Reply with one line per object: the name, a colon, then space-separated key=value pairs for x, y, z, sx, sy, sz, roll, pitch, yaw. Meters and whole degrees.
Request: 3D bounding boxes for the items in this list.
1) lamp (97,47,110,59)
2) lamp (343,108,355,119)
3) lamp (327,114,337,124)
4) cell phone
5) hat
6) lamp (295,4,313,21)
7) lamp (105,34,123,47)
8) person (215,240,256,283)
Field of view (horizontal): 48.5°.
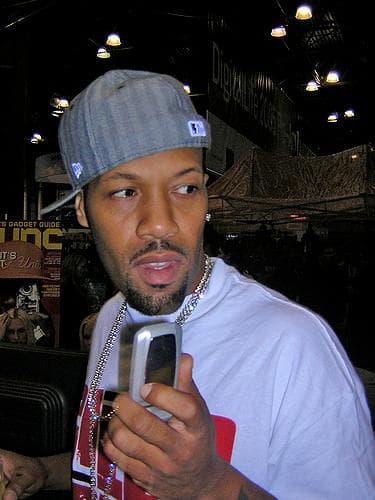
lamp: x=-2.142 y=-5.080 z=10.733 sx=0.275 sy=0.076 sz=0.267 roll=0 pitch=-2 yaw=-20
lamp: x=7.344 y=-6.121 z=18.761 sx=0.476 sy=0.474 sz=0.263 roll=33 pitch=-9 yaw=37
lamp: x=6.464 y=-5.900 z=18.886 sx=0.525 sy=0.133 sz=0.489 roll=-16 pitch=-1 yaw=-33
cell phone: x=-0.039 y=0.176 z=0.648 sx=0.056 sy=0.118 sz=0.097 roll=-3 pitch=-2 yaw=42
hat: x=-0.187 y=-0.306 z=1.159 sx=0.405 sy=0.228 sz=0.282 roll=-15 pitch=11 yaw=22
lamp: x=2.691 y=-5.467 z=9.648 sx=0.317 sy=0.252 sz=0.487 roll=-2 pitch=-2 yaw=14
lamp: x=-1.824 y=-5.096 z=10.128 sx=0.398 sy=0.304 sz=0.210 roll=-2 pitch=-2 yaw=13
person: x=1.011 y=0.068 z=8.481 sx=0.814 sy=0.476 sz=1.778 roll=3 pitch=12 yaw=-5
